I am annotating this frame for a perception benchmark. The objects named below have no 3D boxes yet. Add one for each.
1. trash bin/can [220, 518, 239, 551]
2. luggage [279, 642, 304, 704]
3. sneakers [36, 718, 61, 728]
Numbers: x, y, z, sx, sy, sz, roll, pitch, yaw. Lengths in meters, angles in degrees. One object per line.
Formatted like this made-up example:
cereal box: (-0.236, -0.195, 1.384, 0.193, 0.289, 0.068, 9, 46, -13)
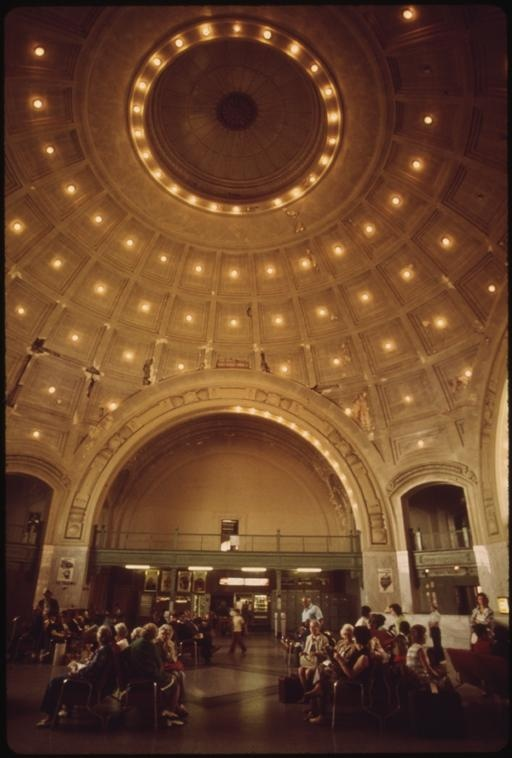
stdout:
trash bin/can: (-1.647, 9.537, 25.947, 1.198, 1.755, 0.768, -1, -25, 2)
luggage: (0.762, 5.925, 8.531, 0.629, 0.964, 0.635, -4, -28, 7)
sneakers: (-3.093, 5.033, 6.206, 0.379, 0.123, 0.188, -3, -25, 6)
